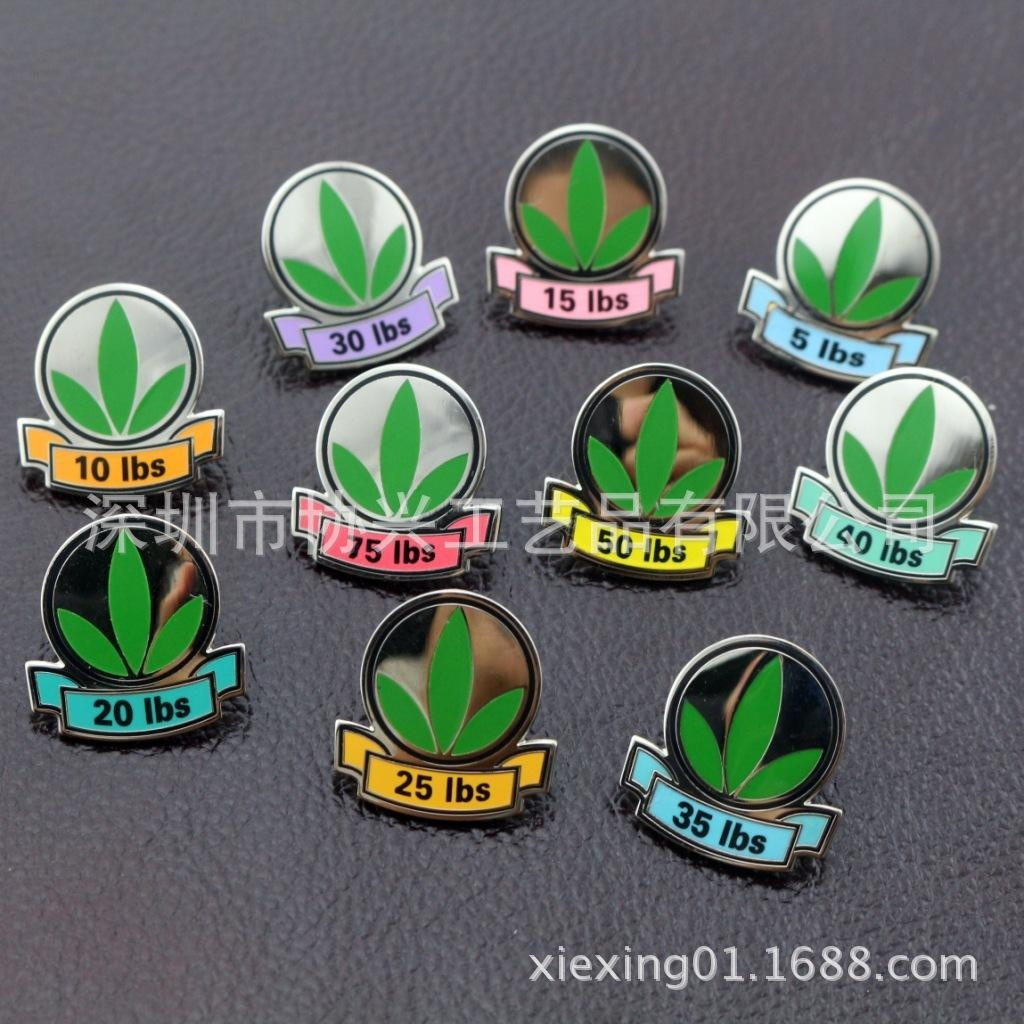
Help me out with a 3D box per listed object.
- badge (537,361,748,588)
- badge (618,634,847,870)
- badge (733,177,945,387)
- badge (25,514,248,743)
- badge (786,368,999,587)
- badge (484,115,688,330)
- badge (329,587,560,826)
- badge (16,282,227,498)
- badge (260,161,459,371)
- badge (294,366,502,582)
[{"bbox_3d":[0.123,-0.035,1.512,0.181,0.229,0.012,7,38,1],"label":"badge"},{"bbox_3d":[0.188,0.210,1.451,0.119,0.006,0.150,24,96,0],"label":"badge"},{"bbox_3d":[0.305,-0.208,1.595,0.133,0.016,0.168,19,99,-1],"label":"badge"},{"bbox_3d":[-0.324,0.107,1.478,0.151,0.008,0.200,-1,96,-8],"label":"badge"},{"bbox_3d":[0.347,-0.041,1.522,0.181,0.226,0.018,13,40,11],"label":"badge"},{"bbox_3d":[0.067,-0.263,1.600,0.166,0.020,0.215,-1,109,1],"label":"badge"},{"bbox_3d":[-0.059,0.172,1.457,0.138,0.011,0.180,6,95,-2],"label":"badge"},{"bbox_3d":[-0.352,-0.104,1.543,0.155,0.014,0.205,0,95,-5],"label":"badge"},{"bbox_3d":[-0.143,-0.221,1.579,0.136,0.011,0.168,-21,106,-10],"label":"badge"},{"bbox_3d":[-0.101,-0.036,1.498,0.179,0.224,0.012,3,37,-7],"label":"badge"}]
